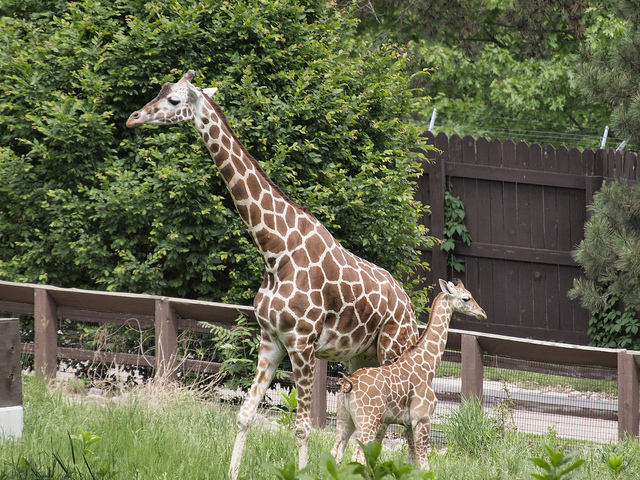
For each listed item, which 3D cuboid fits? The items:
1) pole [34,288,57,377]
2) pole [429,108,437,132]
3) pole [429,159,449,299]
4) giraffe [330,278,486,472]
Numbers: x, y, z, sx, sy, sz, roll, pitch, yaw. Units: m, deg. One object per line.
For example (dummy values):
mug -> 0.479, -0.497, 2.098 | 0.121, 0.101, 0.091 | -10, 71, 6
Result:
pole -> -3.805, 1.282, 18.278 | 0.316, 1.237, 0.333 | 1, -3, -13
pole -> 1.928, -2.087, 22.630 | 0.092, 0.515, 0.067 | 12, -6, 7
pole -> 1.981, -0.205, 22.001 | 0.288, 2.297, 0.346 | -1, -3, 17
giraffe -> 0.999, 1.596, 15.835 | 1.704, 2.261, 0.619 | 1, -3, -27
